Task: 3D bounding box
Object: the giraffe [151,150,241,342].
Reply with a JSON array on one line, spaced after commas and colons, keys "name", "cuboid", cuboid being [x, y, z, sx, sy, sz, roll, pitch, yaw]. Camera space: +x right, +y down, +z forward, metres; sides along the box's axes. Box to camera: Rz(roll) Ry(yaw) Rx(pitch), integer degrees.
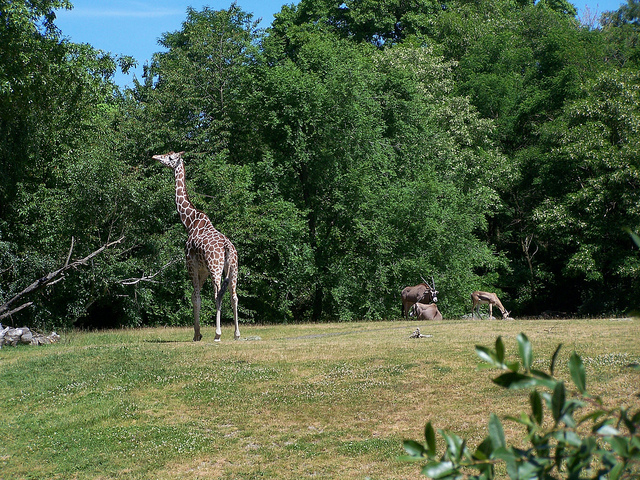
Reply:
[{"name": "giraffe", "cuboid": [-4.838, 0.103, 34.108, 1.708, 8.180, 3.182, 1, -6, -45]}]
